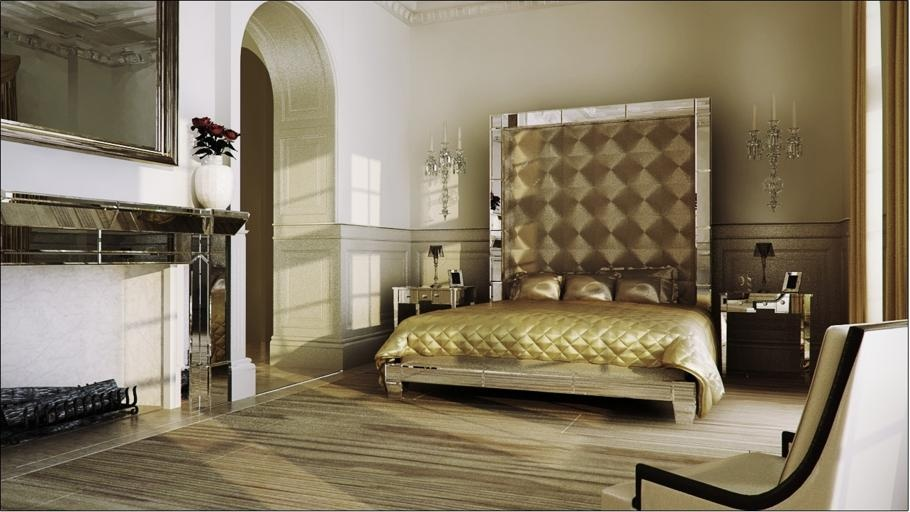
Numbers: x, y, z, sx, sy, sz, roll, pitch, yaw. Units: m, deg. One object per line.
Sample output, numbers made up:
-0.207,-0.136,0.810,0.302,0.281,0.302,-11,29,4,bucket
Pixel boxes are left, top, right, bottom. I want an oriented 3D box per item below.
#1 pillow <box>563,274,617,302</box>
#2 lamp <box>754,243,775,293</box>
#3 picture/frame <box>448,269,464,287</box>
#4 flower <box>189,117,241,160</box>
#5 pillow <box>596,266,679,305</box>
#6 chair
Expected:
1.723,0.395,8.000,0.464,0.122,0.380,-2,43,17,pillow
3.818,0.128,7.814,0.242,0.589,0.543,6,14,26,lamp
0.011,0.314,8.853,0.263,0.262,0.028,7,-27,-25,picture/frame
-2.422,-1.183,6.550,0.505,0.430,0.468,0,4,5,flower
2.390,0.381,7.972,0.869,0.415,0.570,2,12,11,pillow
2.089,1.003,4.179,1.369,1.524,1.825,-1,-3,45,chair
